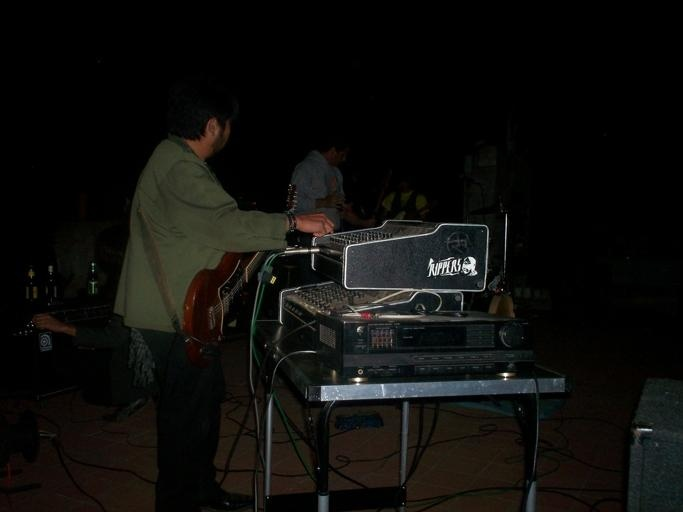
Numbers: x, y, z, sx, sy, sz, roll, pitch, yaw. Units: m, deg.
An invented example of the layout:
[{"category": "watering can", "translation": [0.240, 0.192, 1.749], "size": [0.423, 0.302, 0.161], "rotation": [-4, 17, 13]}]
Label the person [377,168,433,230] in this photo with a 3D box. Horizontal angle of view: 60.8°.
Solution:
[{"category": "person", "translation": [0.980, -0.937, 9.084], "size": [0.783, 0.704, 1.119], "rotation": [2, -1, 8]}]

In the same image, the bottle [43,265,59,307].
[{"category": "bottle", "translation": [-2.433, 0.238, 4.879], "size": [0.116, 0.366, 0.105], "rotation": [1, -1, 44]}]

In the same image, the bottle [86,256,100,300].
[{"category": "bottle", "translation": [-2.253, 0.195, 5.270], "size": [0.115, 0.372, 0.402], "rotation": [2, -1, -24]}]

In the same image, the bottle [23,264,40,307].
[{"category": "bottle", "translation": [-2.558, 0.219, 4.810], "size": [0.105, 0.336, 0.059], "rotation": [2, -1, -28]}]

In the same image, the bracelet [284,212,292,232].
[{"category": "bracelet", "translation": [-0.269, -0.177, 3.010], "size": [0.050, 0.080, 0.072], "rotation": [-1, 8, -18]}]
